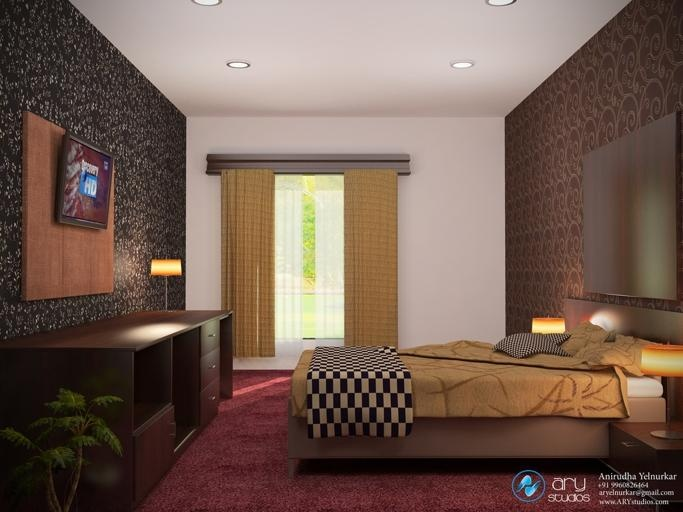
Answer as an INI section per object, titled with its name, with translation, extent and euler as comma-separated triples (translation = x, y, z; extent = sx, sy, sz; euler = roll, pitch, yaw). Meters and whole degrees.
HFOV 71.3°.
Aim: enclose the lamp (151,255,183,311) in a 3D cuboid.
[lamp]
translation = -1.831, 0.292, 4.950
extent = 0.362, 0.571, 0.359
euler = -1, -8, -7
